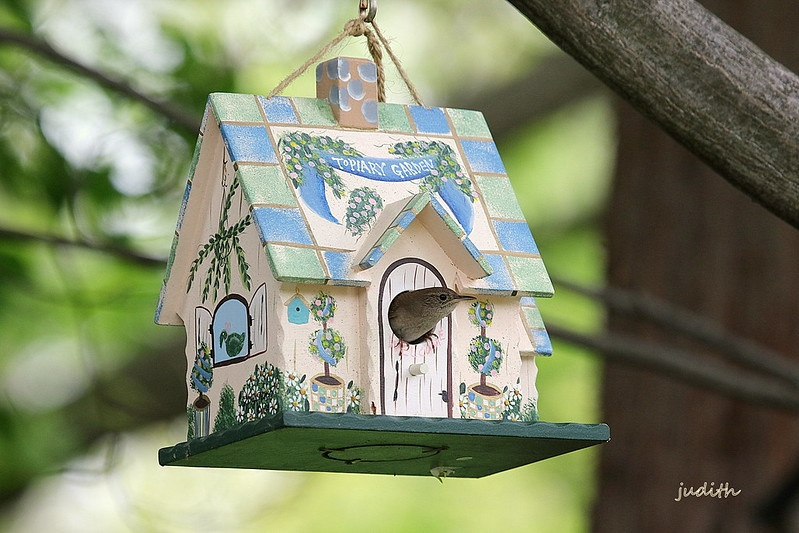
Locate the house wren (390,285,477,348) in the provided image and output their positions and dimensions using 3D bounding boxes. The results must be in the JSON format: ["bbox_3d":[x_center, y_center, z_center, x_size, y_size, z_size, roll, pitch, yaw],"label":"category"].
[{"bbox_3d":[0.147,0.179,6.000,0.311,0.174,0.196,-3,-5,12],"label":"house wren"}]
